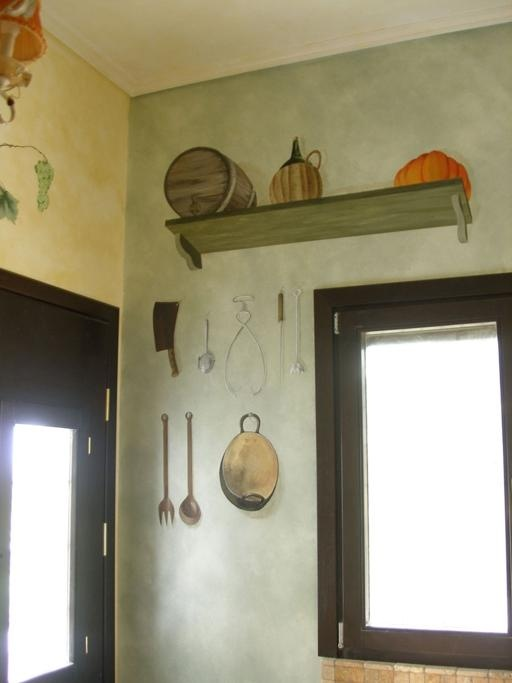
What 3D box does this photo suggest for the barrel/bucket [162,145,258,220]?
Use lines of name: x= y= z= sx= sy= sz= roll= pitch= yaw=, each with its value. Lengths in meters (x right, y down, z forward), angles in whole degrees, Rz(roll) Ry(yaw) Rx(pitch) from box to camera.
barrel/bucket: x=-0.138 y=-0.452 z=2.060 sx=0.196 sy=0.238 sz=0.216 roll=3 pitch=14 yaw=15

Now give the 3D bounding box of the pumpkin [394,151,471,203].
pumpkin: x=0.482 y=-0.401 z=1.903 sx=0.153 sy=0.076 sz=0.153 roll=14 pitch=-17 yaw=-39

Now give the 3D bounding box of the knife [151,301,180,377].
knife: x=-0.294 y=-0.014 z=2.327 sx=0.101 sy=0.251 sz=0.025 roll=-5 pitch=-11 yaw=30
